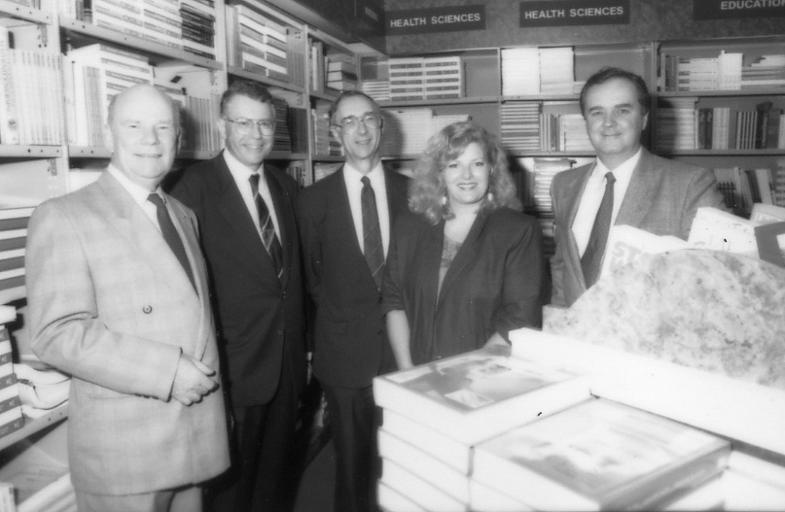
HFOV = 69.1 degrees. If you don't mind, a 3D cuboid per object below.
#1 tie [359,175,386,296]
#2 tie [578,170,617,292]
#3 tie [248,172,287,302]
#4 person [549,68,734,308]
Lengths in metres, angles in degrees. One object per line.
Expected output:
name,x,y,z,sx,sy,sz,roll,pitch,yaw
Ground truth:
tie,-0.097,-0.110,2.704,0.095,0.529,0.045,-5,-12,-2
tie,0.699,-0.086,1.950,0.110,0.076,0.556,16,49,8
tie,-0.577,-0.111,2.595,0.101,0.647,0.067,-8,-14,-26
person,0.900,-0.270,2.127,0.598,0.890,0.779,1,14,15
